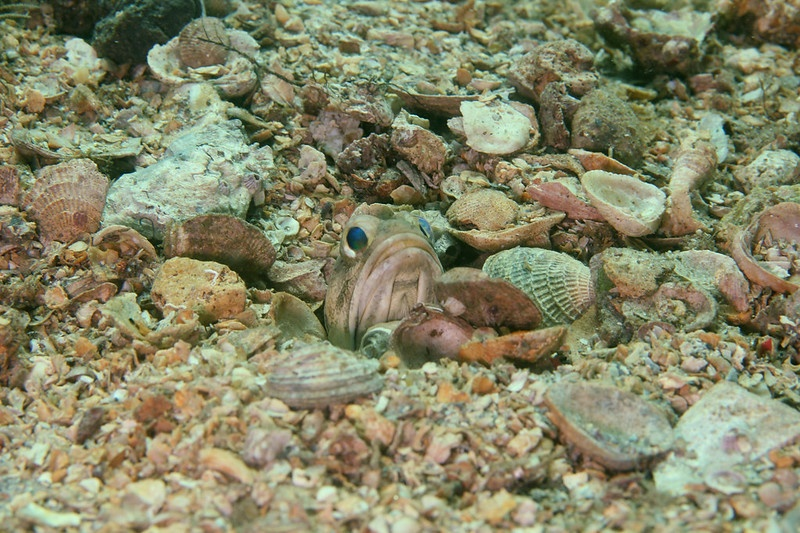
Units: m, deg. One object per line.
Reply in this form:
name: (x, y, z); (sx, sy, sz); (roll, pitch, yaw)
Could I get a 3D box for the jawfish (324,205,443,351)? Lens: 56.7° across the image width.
jawfish: (-0.129, 0.094, 4.438); (0.735, 0.641, 0.527); (-22, 59, -14)

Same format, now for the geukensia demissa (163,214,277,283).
geukensia demissa: (-1.145, -0.108, 4.766); (0.654, 0.480, 0.252); (-2, 56, -1)

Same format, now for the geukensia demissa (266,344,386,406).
geukensia demissa: (-0.414, 0.591, 4.030); (0.652, 0.144, 0.338); (-6, 57, -3)

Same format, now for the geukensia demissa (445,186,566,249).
geukensia demissa: (0.687, -0.277, 4.973); (0.758, 0.192, 0.395); (19, 59, 12)

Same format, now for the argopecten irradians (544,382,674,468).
argopecten irradians: (1.120, 0.860, 3.972); (0.709, 0.190, 0.386); (14, 58, 9)
